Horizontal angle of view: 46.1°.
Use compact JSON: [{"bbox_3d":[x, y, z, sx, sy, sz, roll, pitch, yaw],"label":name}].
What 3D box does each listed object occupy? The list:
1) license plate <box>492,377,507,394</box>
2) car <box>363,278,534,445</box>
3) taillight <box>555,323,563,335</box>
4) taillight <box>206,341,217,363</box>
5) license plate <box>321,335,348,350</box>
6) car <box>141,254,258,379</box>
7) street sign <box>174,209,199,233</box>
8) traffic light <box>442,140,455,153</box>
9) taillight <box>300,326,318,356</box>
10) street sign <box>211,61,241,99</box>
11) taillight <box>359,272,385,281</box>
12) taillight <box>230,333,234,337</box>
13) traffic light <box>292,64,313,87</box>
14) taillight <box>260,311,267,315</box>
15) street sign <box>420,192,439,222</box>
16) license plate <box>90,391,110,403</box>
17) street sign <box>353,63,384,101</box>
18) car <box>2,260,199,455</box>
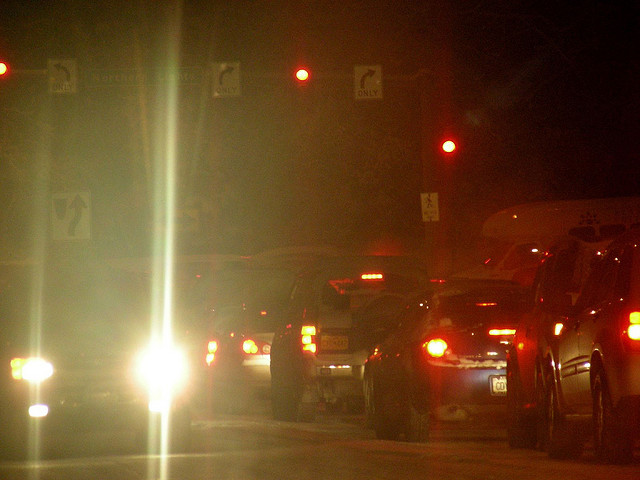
[{"bbox_3d":[2.135,1.726,8.845,0.167,0.172,0.042,1,-15,-4],"label":"license plate"},{"bbox_3d":[1.490,1.484,9.621,1.354,1.333,2.556,-1,-2,-10],"label":"car"},{"bbox_3d":[2.481,0.935,7.822,0.088,0.098,0.023,2,-2,31],"label":"taillight"},{"bbox_3d":[-1.582,1.680,11.075,0.204,0.346,0.084,15,-16,-42],"label":"taillight"},{"bbox_3d":[0.230,1.650,11.940,0.421,0.225,0.088,-2,-31,0],"label":"license plate"},{"bbox_3d":[-2.081,0.860,11.702,0.853,1.056,3.494,5,2,-2],"label":"car"},{"bbox_3d":[-5.113,-0.727,28.596,0.839,0.868,0.211,0,13,5],"label":"street sign"},{"bbox_3d":[2.801,-2.027,16.267,0.224,0.250,0.055,2,-3,8],"label":"traffic light"},{"bbox_3d":[-0.180,1.642,11.985,0.320,0.452,0.201,-11,-32,15],"label":"taillight"},{"bbox_3d":[-2.239,-3.826,17.927,0.804,0.931,0.122,-1,-2,5],"label":"street sign"},{"bbox_3d":[0.827,0.598,11.948,0.396,0.148,0.091,1,-31,-5],"label":"taillight"},{"bbox_3d":[-1.682,1.831,14.297,0.055,0.058,0.014,-1,-14,-18],"label":"taillight"},{"bbox_3d":[-0.399,-3.752,17.301,0.459,0.413,0.474,-1,-32,-2],"label":"traffic light"},{"bbox_3d":[-1.107,1.456,14.772,0.123,0.096,0.056,4,-31,-8],"label":"taillight"},{"bbox_3d":[2.470,-0.714,16.718,0.405,0.516,0.678,-6,-33,8],"label":"street sign"},{"bbox_3d":[-2.507,1.805,8.535,0.220,0.146,0.018,10,-32,-18],"label":"license plate"},{"bbox_3d":[1.141,-3.853,17.698,0.718,1.289,0.617,-3,-31,3],"label":"street sign"},{"bbox_3d":[-2.859,1.469,9.762,1.667,1.462,2.817,0,-4,-9],"label":"car"}]
